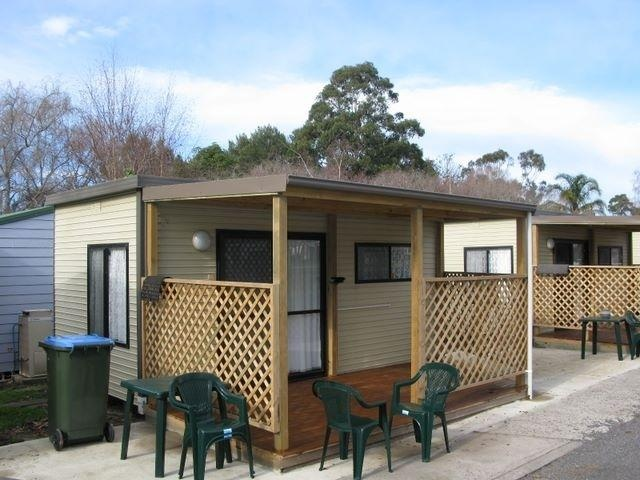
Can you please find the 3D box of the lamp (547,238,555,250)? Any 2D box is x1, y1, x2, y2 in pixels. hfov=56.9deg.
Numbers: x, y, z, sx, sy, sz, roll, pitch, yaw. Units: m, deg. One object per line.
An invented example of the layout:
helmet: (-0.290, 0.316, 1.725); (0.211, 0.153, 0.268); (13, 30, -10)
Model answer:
lamp: (6.191, 0.099, 15.813); (0.154, 0.304, 0.428); (0, -2, 36)

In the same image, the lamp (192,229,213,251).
lamp: (-1.804, 0.013, 9.028); (0.334, 0.340, 0.136); (1, -1, -26)

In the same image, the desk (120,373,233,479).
desk: (-1.936, 2.254, 7.693); (1.209, 1.290, 1.203); (-6, -11, 38)

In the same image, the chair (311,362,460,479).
chair: (0.851, 2.247, 7.372); (1.980, 1.196, 0.918); (2, -2, -39)

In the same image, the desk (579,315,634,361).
desk: (6.245, 1.990, 12.850); (1.056, 1.133, 1.099); (-3, -6, 35)
